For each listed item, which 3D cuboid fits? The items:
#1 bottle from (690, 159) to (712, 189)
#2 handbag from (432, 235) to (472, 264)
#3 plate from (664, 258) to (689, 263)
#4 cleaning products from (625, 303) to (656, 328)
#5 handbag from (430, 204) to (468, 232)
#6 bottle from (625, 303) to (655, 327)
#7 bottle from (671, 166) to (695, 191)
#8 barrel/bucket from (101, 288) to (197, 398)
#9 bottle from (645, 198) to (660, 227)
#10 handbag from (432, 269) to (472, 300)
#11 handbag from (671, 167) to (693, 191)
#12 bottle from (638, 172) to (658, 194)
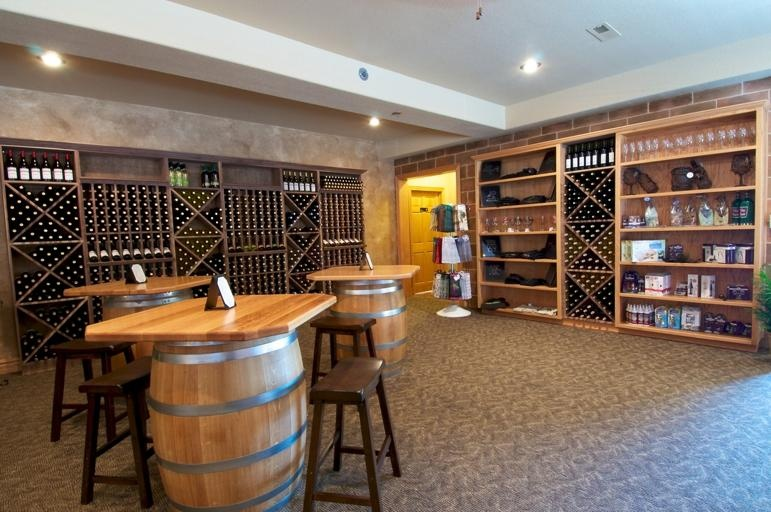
[{"bbox_3d":[4.033,-1.043,6.416,0.265,0.369,0.149,-3,4,-27],"label":"bottle"},{"bbox_3d":[1.099,-0.088,8.081,0.508,0.402,0.620,2,4,36],"label":"handbag"},{"bbox_3d":[3.813,0.069,6.533,0.264,0.060,0.230,1,4,30],"label":"plate"},{"bbox_3d":[3.424,0.819,6.776,0.314,0.289,0.326,1,0,-41],"label":"cleaning products"},{"bbox_3d":[1.098,-0.584,8.271,0.587,0.448,0.498,0,0,36],"label":"handbag"},{"bbox_3d":[3.439,0.806,6.757,0.331,0.286,0.299,1,0,29],"label":"bottle"},{"bbox_3d":[3.815,-0.981,6.439,0.336,0.306,0.266,2,0,19],"label":"bottle"},{"bbox_3d":[-2.475,0.875,5.332,0.995,0.820,0.917,1,3,0],"label":"barrel/bucket"},{"bbox_3d":[3.577,-0.580,6.756,0.187,0.391,0.276,1,5,37],"label":"bottle"},{"bbox_3d":[1.076,0.477,8.057,0.543,0.335,0.509,0,2,-11],"label":"handbag"},{"bbox_3d":[3.814,-0.984,6.439,0.327,0.289,0.251,3,-1,25],"label":"handbag"},{"bbox_3d":[3.563,-0.981,6.753,0.222,0.294,0.217,-1,4,0],"label":"bottle"}]
